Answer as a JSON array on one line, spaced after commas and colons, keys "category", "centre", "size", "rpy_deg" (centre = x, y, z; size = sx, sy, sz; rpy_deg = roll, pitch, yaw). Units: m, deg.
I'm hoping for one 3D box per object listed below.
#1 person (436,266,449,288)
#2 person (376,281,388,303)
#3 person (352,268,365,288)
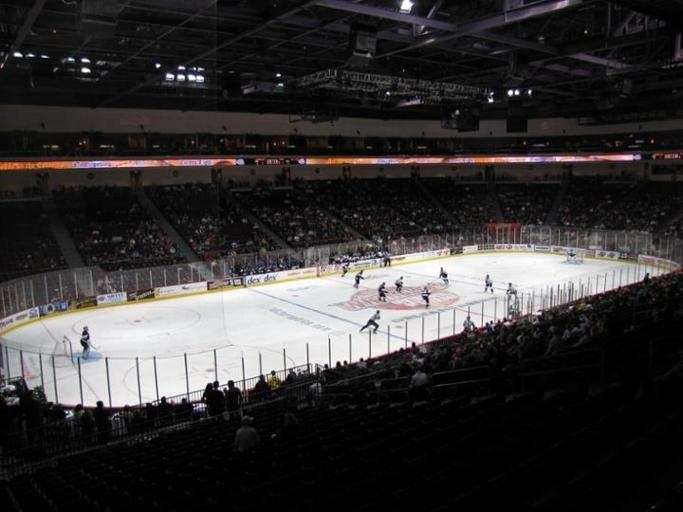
[{"category": "person", "centre": [4.905, 1.053, 32.065], "size": [0.369, 0.283, 0.827], "rpy_deg": [16, -18, 24]}, {"category": "person", "centre": [1.738, 1.588, 28.546], "size": [0.579, 0.946, 0.409], "rpy_deg": [-9, 24, -6]}, {"category": "person", "centre": [0.793, 1.120, 32.421], "size": [0.495, 0.347, 0.793], "rpy_deg": [-11, -40, -18]}]
